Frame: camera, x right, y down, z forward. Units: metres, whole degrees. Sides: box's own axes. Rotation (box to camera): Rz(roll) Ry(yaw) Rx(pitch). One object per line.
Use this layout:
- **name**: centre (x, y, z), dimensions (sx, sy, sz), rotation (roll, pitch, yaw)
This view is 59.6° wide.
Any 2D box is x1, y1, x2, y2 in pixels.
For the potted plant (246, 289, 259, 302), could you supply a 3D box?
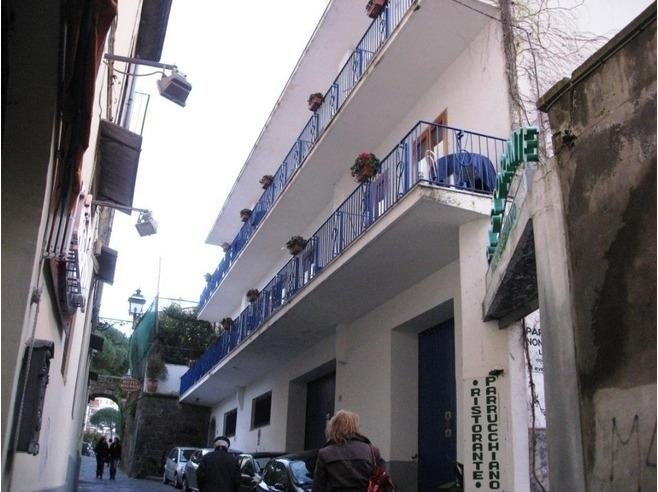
- **potted plant**: centre (-2.307, 1.562, 17.973), dimensions (0.239, 0.524, 0.484), rotation (16, -13, -41)

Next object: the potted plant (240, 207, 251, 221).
- **potted plant**: centre (-3.055, -1.158, 21.125), dimensions (0.439, 0.239, 0.579), rotation (9, -37, -11)

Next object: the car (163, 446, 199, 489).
- **car**: centre (-5.152, 7.884, 20.662), dimensions (1.265, 1.258, 2.315), rotation (11, -33, -22)

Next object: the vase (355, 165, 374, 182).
- **vase**: centre (0.724, -1.432, 11.363), dimensions (0.263, 0.148, 0.297), rotation (7, -29, -19)
